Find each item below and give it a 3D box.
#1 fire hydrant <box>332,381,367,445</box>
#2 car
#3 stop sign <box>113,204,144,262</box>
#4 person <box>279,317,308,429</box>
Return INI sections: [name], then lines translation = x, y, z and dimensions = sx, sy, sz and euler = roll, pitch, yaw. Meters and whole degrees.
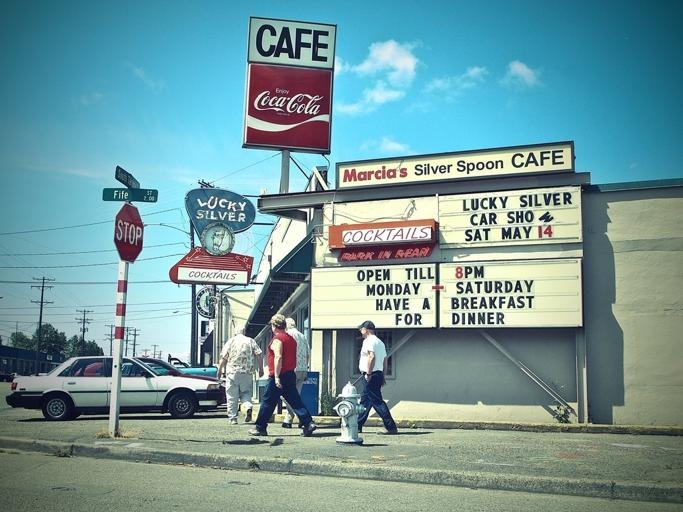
[fire hydrant]
translation = 0.168, 2.991, 14.646
dimensions = 0.537, 1.112, 0.439
euler = 2, -8, -14
[car]
translation = -5.855, 3.432, 20.184
dimensions = 5.055, 1.629, 1.129
euler = 1, -8, -4
[stop sign]
translation = -4.196, -0.507, 15.300
dimensions = 0.326, 1.208, 0.923
euler = -1, -8, 12
[person]
translation = -1.192, 2.707, 17.583
dimensions = 0.770, 2.600, 0.887
euler = -13, -17, 43
